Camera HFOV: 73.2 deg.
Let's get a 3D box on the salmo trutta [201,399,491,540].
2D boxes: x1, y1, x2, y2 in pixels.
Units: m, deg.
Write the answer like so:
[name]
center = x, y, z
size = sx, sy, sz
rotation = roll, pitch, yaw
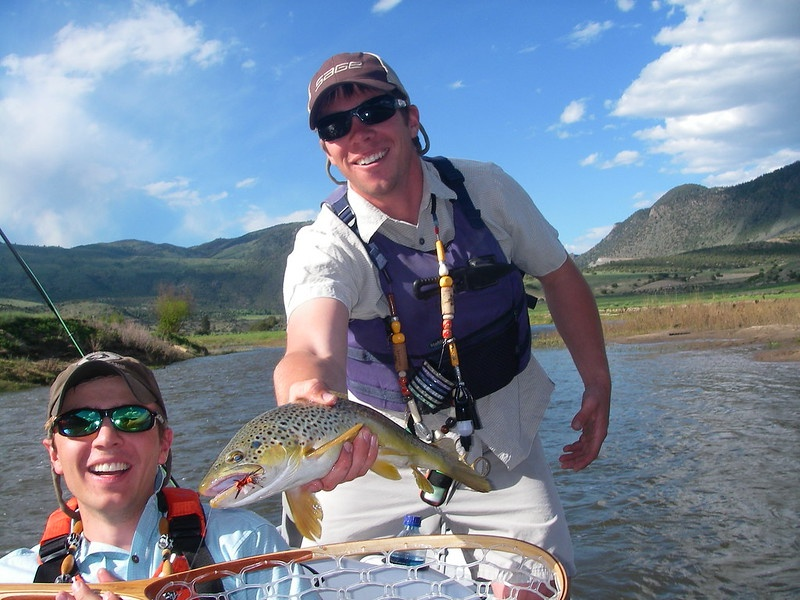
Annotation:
[salmo trutta]
center = -0.243, 0.837, 2.785
size = 1.453, 0.568, 0.577
rotation = 2, -26, -25
